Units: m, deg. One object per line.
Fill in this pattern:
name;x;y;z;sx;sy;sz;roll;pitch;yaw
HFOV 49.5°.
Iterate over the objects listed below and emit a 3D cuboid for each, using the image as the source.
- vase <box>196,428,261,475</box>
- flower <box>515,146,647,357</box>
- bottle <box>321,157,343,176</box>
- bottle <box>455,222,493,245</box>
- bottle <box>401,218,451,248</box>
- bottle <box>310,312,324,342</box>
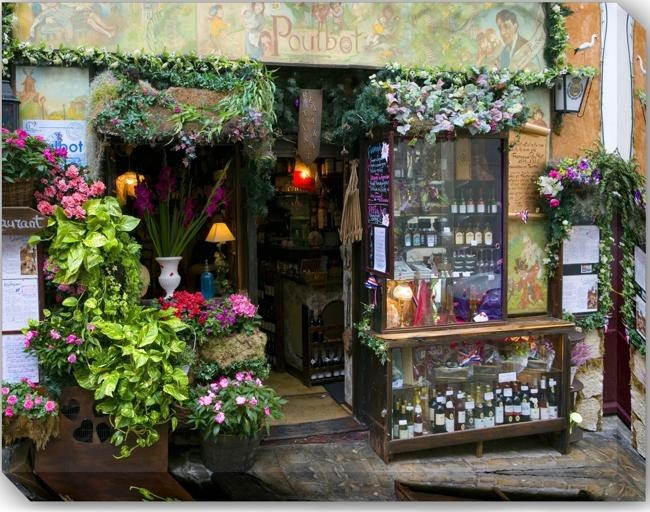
vase;-0.833;1.718;6.246;0.426;0.233;0.395;2;-3;-16
flower;2.582;-0.039;7.597;1.485;2.022;0.729;1;-2;-30
bottle;0.082;-1.084;8.595;0.291;0.270;0.206;0;-1;-4
bottle;1.433;-0.221;6.852;0.216;0.198;0.076;-1;12;-8
bottle;0.968;-0.241;6.814;0.500;0.267;0.345;-3;8;-11
bottle;-0.093;0.824;8.015;0.202;0.322;0.127;-5;7;-29
